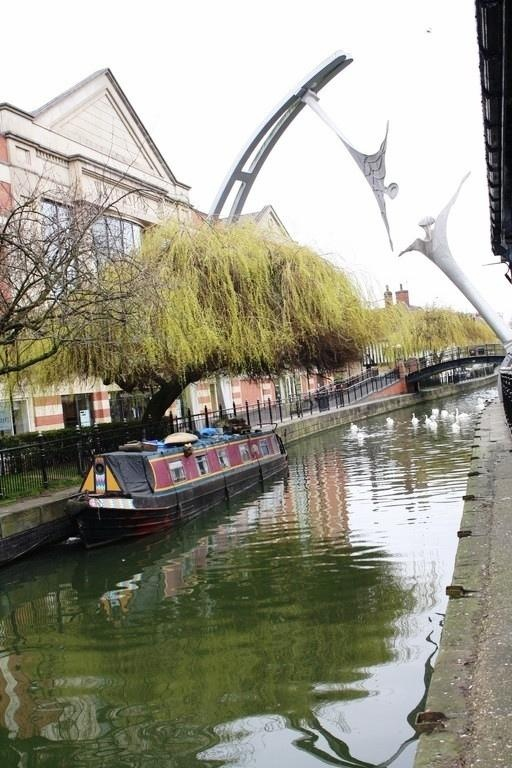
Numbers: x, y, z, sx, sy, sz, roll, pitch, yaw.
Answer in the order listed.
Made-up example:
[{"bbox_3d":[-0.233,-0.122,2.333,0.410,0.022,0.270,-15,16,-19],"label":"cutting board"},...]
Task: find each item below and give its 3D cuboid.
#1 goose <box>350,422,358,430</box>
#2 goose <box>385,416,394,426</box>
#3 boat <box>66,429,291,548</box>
[{"bbox_3d":[5.162,2.208,31.199,0.464,0.382,0.689,-1,4,12],"label":"goose"},{"bbox_3d":[7.213,2.098,32.246,0.384,0.564,1.171,-4,-17,9],"label":"goose"},{"bbox_3d":[-1.755,2.304,14.830,0.898,2.033,7.006,-10,-3,27],"label":"boat"}]
